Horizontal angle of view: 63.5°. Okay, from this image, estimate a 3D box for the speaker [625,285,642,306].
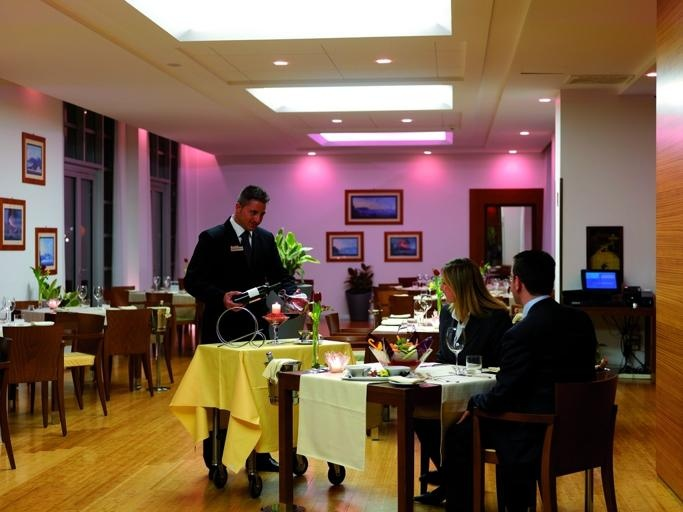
[{"bbox_3d":[3.908,0.522,7.410,0.207,0.232,0.183,-1,-1,28],"label":"speaker"}]

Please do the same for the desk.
[{"bbox_3d":[3.662,1.178,7.693,1.288,0.927,0.684,-5,-5,23],"label":"desk"}]

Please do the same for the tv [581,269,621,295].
[{"bbox_3d":[3.512,0.355,7.540,0.534,0.287,0.352,3,-23,4],"label":"tv"}]

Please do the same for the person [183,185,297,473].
[{"bbox_3d":[-0.751,0.579,4.294,0.843,2.182,0.837,0,3,-20],"label":"person"}]

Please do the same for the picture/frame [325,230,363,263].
[{"bbox_3d":[0.095,-0.227,13.514,0.764,0.659,0.057,0,-3,0],"label":"picture/frame"}]

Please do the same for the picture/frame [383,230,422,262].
[{"bbox_3d":[1.519,-0.250,13.397,0.734,0.608,0.057,0,-2,2],"label":"picture/frame"}]

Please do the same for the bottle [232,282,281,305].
[{"bbox_3d":[-0.648,0.283,4.178,0.286,0.147,0.447,-1,-1,30],"label":"bottle"}]

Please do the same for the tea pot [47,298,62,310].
[{"bbox_3d":[-3.836,0.640,7.368,0.142,0.081,0.145,-1,-1,0],"label":"tea pot"}]

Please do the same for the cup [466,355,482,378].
[{"bbox_3d":[0.795,0.663,3.334,0.101,0.111,0.097,1,-6,0],"label":"cup"}]

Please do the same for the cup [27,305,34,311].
[{"bbox_3d":[-3.982,0.662,7.059,0.094,0.074,0.092,-2,-5,0],"label":"cup"}]

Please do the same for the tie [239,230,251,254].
[{"bbox_3d":[-0.742,-0.110,4.265,0.088,0.162,0.038,1,-7,-35],"label":"tie"}]

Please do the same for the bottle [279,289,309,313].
[{"bbox_3d":[-0.331,0.303,3.805,0.129,0.106,0.198,-15,10,-33],"label":"bottle"}]
